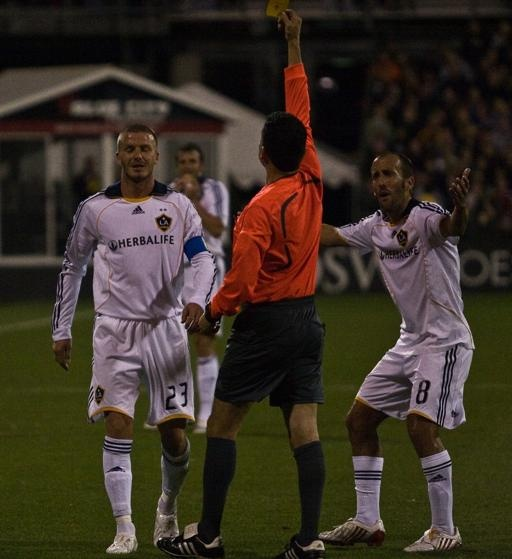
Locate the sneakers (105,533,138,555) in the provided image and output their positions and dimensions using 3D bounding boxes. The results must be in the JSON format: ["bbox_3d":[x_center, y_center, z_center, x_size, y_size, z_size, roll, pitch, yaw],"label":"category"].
[{"bbox_3d":[-0.733,1.416,7.116,0.158,0.068,0.087,9,-16,-30],"label":"sneakers"}]

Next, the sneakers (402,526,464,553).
[{"bbox_3d":[0.978,1.406,7.194,0.346,0.131,0.121,-2,-12,-1],"label":"sneakers"}]

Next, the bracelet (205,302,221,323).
[{"bbox_3d":[-0.234,0.173,6.953,0.093,0.097,0.098,7,36,-3],"label":"bracelet"}]

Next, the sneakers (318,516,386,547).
[{"bbox_3d":[0.550,1.393,7.380,0.406,0.172,0.142,3,-8,0],"label":"sneakers"}]

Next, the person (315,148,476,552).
[{"bbox_3d":[0.829,0.387,7.363,0.868,2.150,0.661,5,8,22],"label":"person"}]
